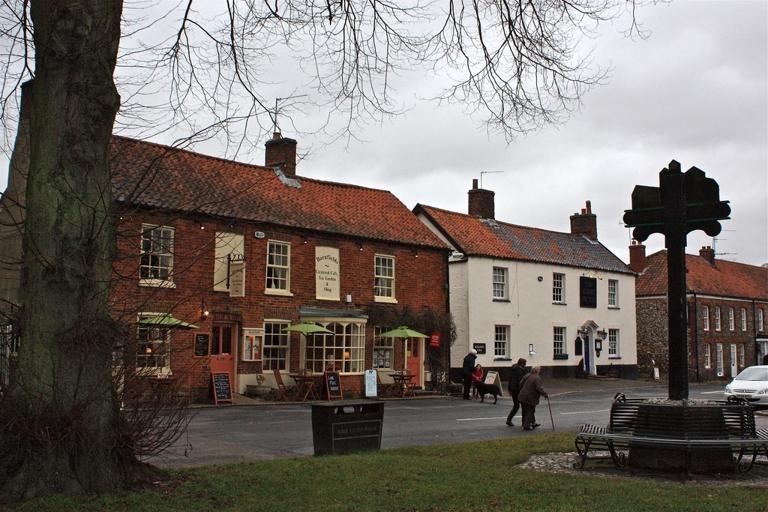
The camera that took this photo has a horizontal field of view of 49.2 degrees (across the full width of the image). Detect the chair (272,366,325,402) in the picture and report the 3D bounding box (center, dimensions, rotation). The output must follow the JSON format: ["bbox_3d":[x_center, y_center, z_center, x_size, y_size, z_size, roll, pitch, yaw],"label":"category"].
[{"bbox_3d":[-3.148,4.832,31.235,1.932,1.224,1.365,5,-14,-19],"label":"chair"}]

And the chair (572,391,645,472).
[{"bbox_3d":[4.580,3.565,17.060,1.340,1.474,2.301,-3,-14,13],"label":"chair"}]

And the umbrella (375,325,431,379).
[{"bbox_3d":[0.815,4.000,34.636,2.055,1.838,1.865,1,-1,-32],"label":"umbrella"}]

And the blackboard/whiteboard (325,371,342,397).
[{"bbox_3d":[-1.884,4.832,31.164,0.659,1.035,0.473,1,-13,-5],"label":"blackboard/whiteboard"}]

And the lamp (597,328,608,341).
[{"bbox_3d":[12.698,4.579,48.805,0.667,0.881,0.687,-2,-7,17],"label":"lamp"}]

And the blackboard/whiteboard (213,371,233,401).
[{"bbox_3d":[-5.551,4.520,28.807,0.629,1.099,0.706,7,-23,-34],"label":"blackboard/whiteboard"}]

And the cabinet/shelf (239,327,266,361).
[{"bbox_3d":[-4.822,3.219,30.512,0.387,1.374,1.142,-6,-10,41],"label":"cabinet/shelf"}]

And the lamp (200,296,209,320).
[{"bbox_3d":[-6.267,1.820,29.185,0.258,0.801,0.527,-2,-13,8],"label":"lamp"}]

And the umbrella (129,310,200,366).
[{"bbox_3d":[-3.652,1.428,14.148,1.220,0.909,1.077,6,-9,-43],"label":"umbrella"}]
